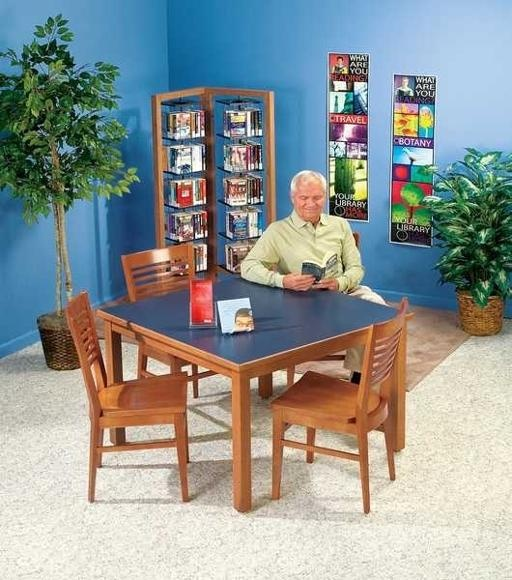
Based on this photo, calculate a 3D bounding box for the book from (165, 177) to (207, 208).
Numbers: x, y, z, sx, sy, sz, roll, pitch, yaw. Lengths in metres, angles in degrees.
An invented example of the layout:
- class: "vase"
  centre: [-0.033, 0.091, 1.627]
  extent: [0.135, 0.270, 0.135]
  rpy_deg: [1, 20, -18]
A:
- class: "book"
  centre: [-0.628, -0.881, 4.894]
  extent: [0.407, 0.260, 0.236]
  rpy_deg: [-4, 11, -15]

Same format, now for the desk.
- class: "desk"
  centre: [-0.039, 0.178, 2.318]
  extent: [1.092, 0.599, 1.079]
  rpy_deg: [-14, 19, -42]

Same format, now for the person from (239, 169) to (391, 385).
- class: "person"
  centre: [0.354, -0.054, 3.012]
  extent: [0.730, 1.108, 0.715]
  rpy_deg: [-18, 28, -37]

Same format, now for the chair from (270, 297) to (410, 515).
- class: "chair"
  centre: [0.329, 0.432, 2.244]
  extent: [0.534, 0.841, 0.647]
  rpy_deg: [2, 12, 15]

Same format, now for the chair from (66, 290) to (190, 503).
- class: "chair"
  centre: [-0.515, 0.427, 2.272]
  extent: [0.438, 0.845, 0.452]
  rpy_deg: [-3, 12, -7]

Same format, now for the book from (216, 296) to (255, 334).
- class: "book"
  centre: [-0.098, 0.100, 2.175]
  extent: [0.163, 0.131, 0.114]
  rpy_deg: [3, 12, 17]

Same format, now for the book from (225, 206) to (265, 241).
- class: "book"
  centre: [-0.108, -0.638, 5.073]
  extent: [0.314, 0.353, 0.407]
  rpy_deg: [-13, 21, -32]

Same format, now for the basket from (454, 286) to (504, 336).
- class: "basket"
  centre: [1.740, 0.172, 4.293]
  extent: [0.374, 0.257, 0.379]
  rpy_deg: [0, 7, 7]

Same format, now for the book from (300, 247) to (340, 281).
- class: "book"
  centre: [0.318, -0.130, 2.832]
  extent: [0.196, 0.167, 0.075]
  rpy_deg: [-10, 45, -29]

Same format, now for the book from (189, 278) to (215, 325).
- class: "book"
  centre: [-0.228, 0.049, 2.256]
  extent: [0.102, 0.191, 0.125]
  rpy_deg: [-2, 12, -4]

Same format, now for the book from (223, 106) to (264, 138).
- class: "book"
  centre: [-0.116, -1.475, 4.784]
  extent: [0.378, 0.255, 0.363]
  rpy_deg: [-1, 16, -10]

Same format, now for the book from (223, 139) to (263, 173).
- class: "book"
  centre: [-0.125, -1.196, 4.876]
  extent: [0.343, 0.256, 0.122]
  rpy_deg: [-1, 12, -2]

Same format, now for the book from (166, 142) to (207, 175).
- class: "book"
  centre: [-0.633, -1.171, 4.790]
  extent: [0.207, 0.287, 0.341]
  rpy_deg: [9, 17, 35]

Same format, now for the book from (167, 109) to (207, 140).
- class: "book"
  centre: [-0.620, -1.445, 4.752]
  extent: [0.344, 0.252, 0.120]
  rpy_deg: [-9, 14, -35]

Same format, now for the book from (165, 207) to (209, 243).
- class: "book"
  centre: [-0.633, -0.576, 4.924]
  extent: [0.392, 0.272, 0.193]
  rpy_deg: [-4, 12, -16]
